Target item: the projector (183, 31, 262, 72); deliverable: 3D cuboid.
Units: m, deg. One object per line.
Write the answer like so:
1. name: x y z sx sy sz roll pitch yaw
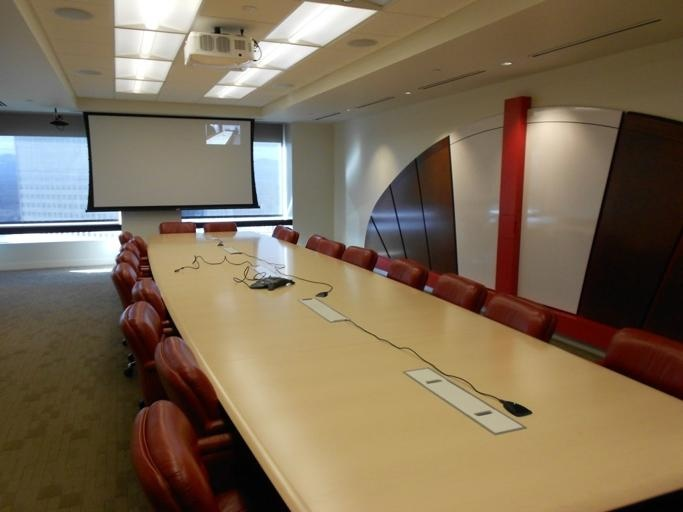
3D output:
1. projector: -1.246 -2.178 4.868 0.728 0.352 0.326 -4 15 -21
